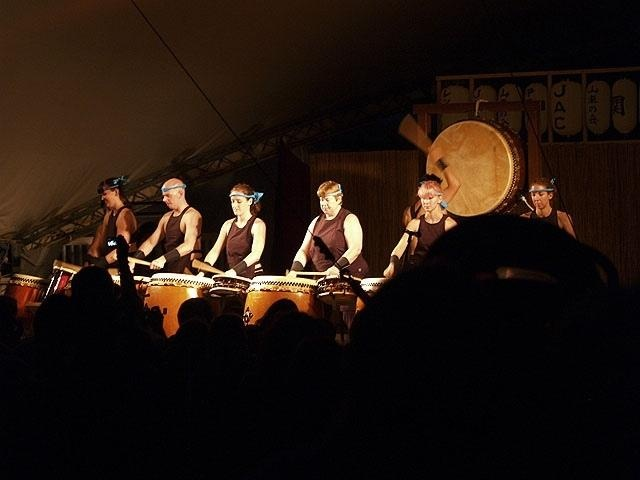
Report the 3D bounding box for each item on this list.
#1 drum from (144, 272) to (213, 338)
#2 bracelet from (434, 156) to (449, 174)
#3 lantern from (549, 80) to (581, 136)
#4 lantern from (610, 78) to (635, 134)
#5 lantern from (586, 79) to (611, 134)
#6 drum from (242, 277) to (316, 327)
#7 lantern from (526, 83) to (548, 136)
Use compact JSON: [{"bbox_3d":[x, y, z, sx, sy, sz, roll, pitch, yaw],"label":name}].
[{"bbox_3d":[-0.947,0.354,3.973,0.422,0.485,0.462,0,-2,14],"label":"drum"},{"bbox_3d":[0.837,-0.516,4.164,0.074,0.087,0.078,-18,-18,-12],"label":"bracelet"},{"bbox_3d":[2.505,-1.336,6.148,0.376,0.513,0.201,4,-5,3],"label":"lantern"},{"bbox_3d":[3.033,-1.328,6.059,0.214,0.545,0.165,5,7,21],"label":"lantern"},{"bbox_3d":[2.785,-1.329,6.053,0.232,0.485,0.179,2,-6,26],"label":"lantern"},{"bbox_3d":[-0.255,0.356,3.729,0.304,0.275,0.324,-1,-7,31],"label":"drum"},{"bbox_3d":[2.184,-1.356,6.116,0.232,0.620,0.546,2,-6,21],"label":"lantern"}]
